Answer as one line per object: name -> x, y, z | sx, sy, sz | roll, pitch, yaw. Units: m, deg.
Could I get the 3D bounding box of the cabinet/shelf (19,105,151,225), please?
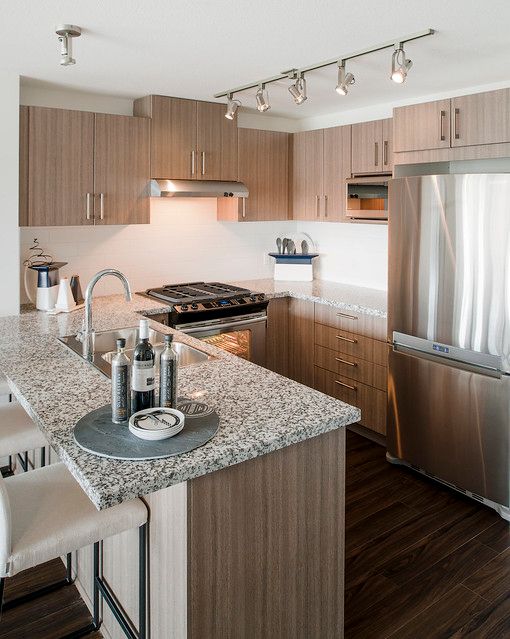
cabinet/shelf -> -1.035, -0.957, 3.404 | 0.873, 0.718, 0.313 | 1, 6, -2

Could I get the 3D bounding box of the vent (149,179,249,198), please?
vent -> -0.392, -0.971, 3.773 | 0.846, 0.148, 0.137 | -10, 13, -43

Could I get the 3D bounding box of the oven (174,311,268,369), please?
oven -> -0.242, 0.147, 3.888 | 0.591, 0.548, 0.366 | -9, 12, -33

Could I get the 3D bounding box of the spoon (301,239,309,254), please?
spoon -> 0.447, -0.658, 4.660 | 0.077, 0.107, 0.025 | 0, 5, 30

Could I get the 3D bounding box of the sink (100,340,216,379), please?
sink -> -0.370, 0.159, 2.315 | 0.236, 0.143, 0.236 | -6, 11, -35

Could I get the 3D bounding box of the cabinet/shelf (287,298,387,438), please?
cabinet/shelf -> 0.544, 0.267, 3.115 | 0.357, 0.788, 0.929 | -3, 7, -36

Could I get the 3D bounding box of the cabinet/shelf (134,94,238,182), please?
cabinet/shelf -> -0.484, -1.322, 3.806 | 0.767, 0.558, 0.290 | -14, 28, -33

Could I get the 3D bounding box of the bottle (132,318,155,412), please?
bottle -> -0.332, 0.132, 1.493 | 0.065, 0.256, 0.183 | -3, 10, -13

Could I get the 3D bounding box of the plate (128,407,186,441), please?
plate -> -0.265, 0.282, 1.369 | 0.152, 0.039, 0.161 | -10, 13, -43

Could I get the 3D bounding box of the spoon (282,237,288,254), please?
spoon -> 0.276, -0.675, 4.665 | 0.046, 0.140, 0.060 | -3, 9, -14

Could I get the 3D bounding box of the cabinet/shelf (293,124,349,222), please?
cabinet/shelf -> 0.620, -1.119, 4.195 | 0.650, 0.635, 0.249 | 6, 10, 34

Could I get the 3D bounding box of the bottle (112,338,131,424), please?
bottle -> -0.373, 0.170, 1.422 | 0.058, 0.235, 0.080 | -3, 9, -15

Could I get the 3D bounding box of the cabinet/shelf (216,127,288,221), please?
cabinet/shelf -> -0.048, -1.181, 4.105 | 0.758, 0.887, 0.298 | -5, 9, -38

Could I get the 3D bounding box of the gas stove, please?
gas stove -> -0.402, -0.174, 3.880 | 0.800, 0.146, 0.732 | -7, 12, -35

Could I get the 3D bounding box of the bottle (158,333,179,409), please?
bottle -> -0.248, 0.175, 1.461 | 0.047, 0.170, 0.051 | -1, 9, 0

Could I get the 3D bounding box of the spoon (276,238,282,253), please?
spoon -> 0.215, -0.674, 4.658 | 0.039, 0.147, 0.022 | 3, 1, 14
